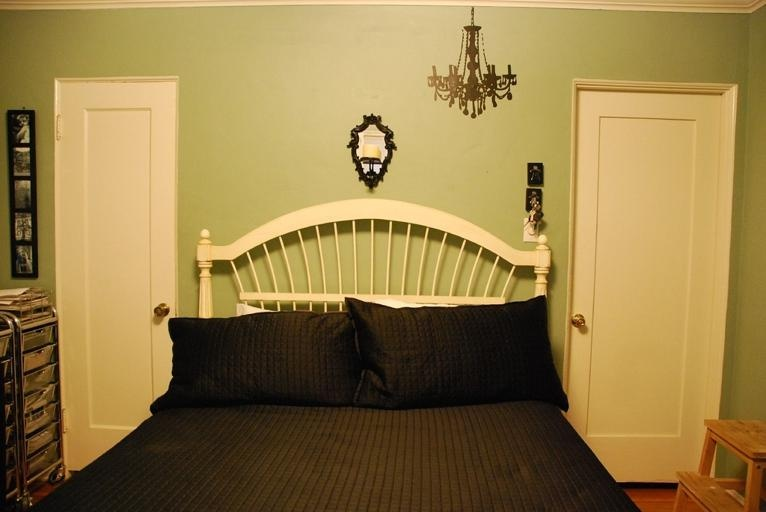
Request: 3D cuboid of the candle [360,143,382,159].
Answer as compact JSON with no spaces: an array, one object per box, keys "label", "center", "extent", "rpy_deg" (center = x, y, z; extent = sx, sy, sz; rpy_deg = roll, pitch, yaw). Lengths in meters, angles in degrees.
[{"label":"candle","center":[-0.083,-0.670,3.882],"extent":[0.102,0.081,0.106],"rpy_deg":[2,0,36]}]
